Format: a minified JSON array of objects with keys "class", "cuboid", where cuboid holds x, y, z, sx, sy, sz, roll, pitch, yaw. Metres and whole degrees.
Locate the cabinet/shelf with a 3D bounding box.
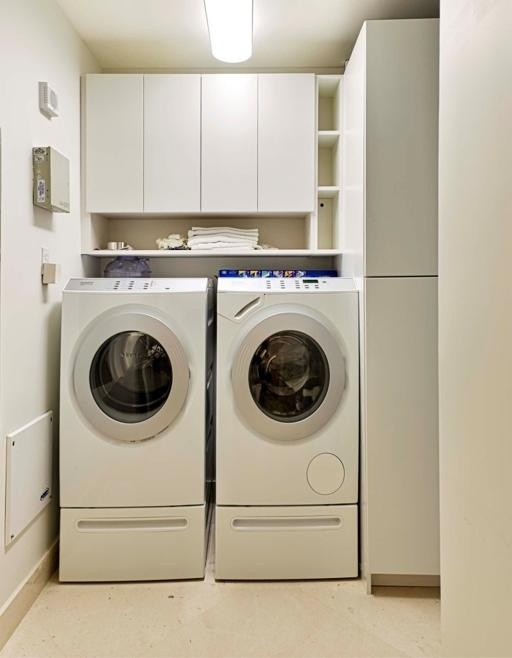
[{"class":"cabinet/shelf","cuboid":[-0.232,-0.765,2.469,0.962,0.841,0.329,-5,28,-7]}]
